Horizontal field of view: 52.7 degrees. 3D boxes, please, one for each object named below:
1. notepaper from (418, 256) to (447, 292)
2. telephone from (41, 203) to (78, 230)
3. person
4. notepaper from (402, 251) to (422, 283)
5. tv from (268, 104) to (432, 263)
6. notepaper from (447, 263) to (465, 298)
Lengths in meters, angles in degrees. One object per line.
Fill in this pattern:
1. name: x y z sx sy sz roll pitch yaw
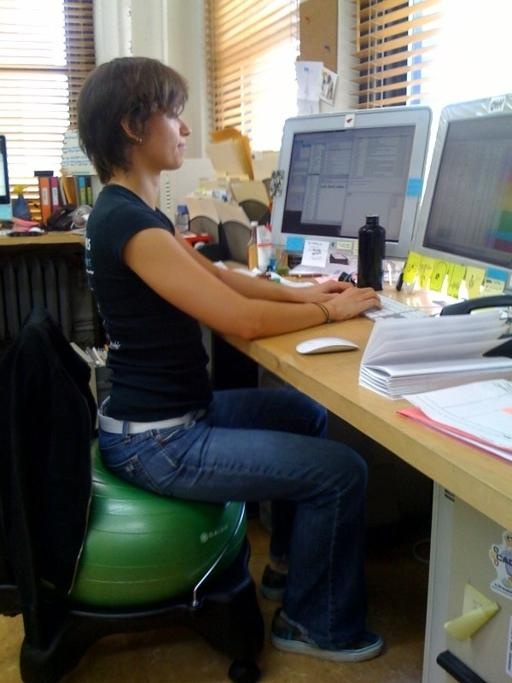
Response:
1. notepaper: 0.408 -0.159 1.200 0.011 0.060 0.081 6 11 -17
2. telephone: -1.060 -0.702 2.794 0.135 0.070 0.189 18 44 18
3. person: -0.036 0.070 1.138 0.553 1.253 0.392 -4 6 -13
4. notepaper: 0.391 -0.186 1.296 0.010 0.101 0.055 -2 27 -20
5. tv: 0.269 -0.405 1.454 0.520 0.416 0.105 15 21 40
6. notepaper: 0.425 -0.132 1.106 0.009 0.095 0.050 -7 17 -19
